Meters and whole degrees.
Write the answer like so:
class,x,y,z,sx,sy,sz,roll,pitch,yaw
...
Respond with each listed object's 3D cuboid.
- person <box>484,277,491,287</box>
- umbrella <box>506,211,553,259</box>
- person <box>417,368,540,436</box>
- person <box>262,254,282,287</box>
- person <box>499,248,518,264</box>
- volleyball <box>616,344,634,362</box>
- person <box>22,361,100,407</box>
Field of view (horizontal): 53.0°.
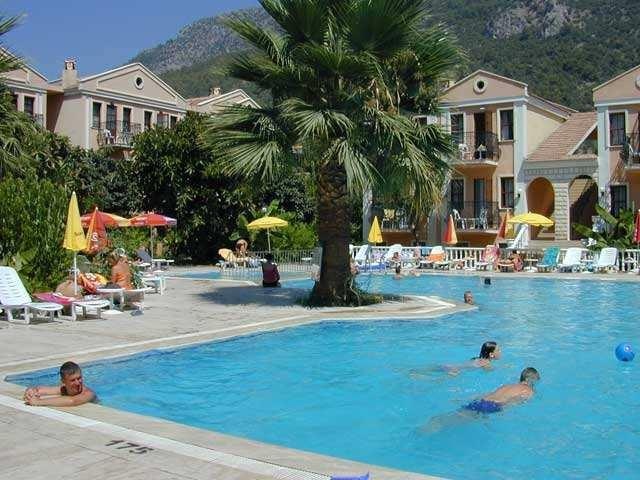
class,x,y,z,sx,sy,sz,roll,pitch,yaw
person,6.095,1.505,23.494,0.329,0.270,1.133,4,5,16
umbrella,9.943,-0.468,30.806,1.630,1.591,1.715,-9,-18,36
person,2.599,2.681,10.102,1.969,0.635,0.632,-21,-5,-6
person,-1.687,1.029,22.071,0.592,1.157,1.174,2,4,-4
person,8.533,0.749,29.067,0.583,0.365,0.909,1,6,20
volleyball,5.751,2.128,12.163,0.285,0.308,0.303,2,8,27
person,-3.544,1.991,8.655,0.880,0.436,0.608,1,6,-44
